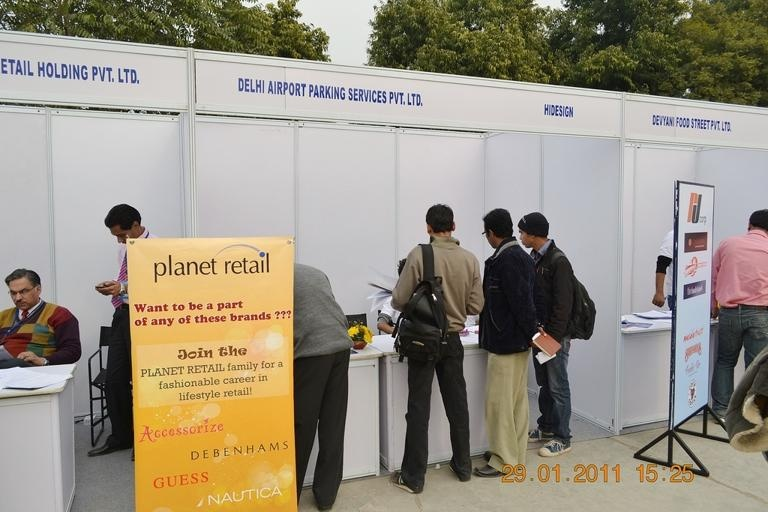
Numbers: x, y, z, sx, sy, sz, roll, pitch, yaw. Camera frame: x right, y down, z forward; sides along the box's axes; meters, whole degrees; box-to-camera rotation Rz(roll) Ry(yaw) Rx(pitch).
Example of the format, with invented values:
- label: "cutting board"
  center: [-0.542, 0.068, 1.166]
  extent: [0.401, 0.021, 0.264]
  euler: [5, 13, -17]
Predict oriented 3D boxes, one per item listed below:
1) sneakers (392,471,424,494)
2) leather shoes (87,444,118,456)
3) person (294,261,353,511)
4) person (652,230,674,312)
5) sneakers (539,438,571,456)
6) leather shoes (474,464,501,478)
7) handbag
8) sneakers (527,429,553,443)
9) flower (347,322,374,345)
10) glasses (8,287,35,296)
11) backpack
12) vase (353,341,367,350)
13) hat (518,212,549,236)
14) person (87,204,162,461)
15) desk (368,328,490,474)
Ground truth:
- label: "sneakers"
  center: [0.210, 2.088, 6.043]
  extent: [0.139, 0.144, 0.313]
  euler: [4, 4, -40]
- label: "leather shoes"
  center: [-2.876, 1.957, 6.631]
  extent: [0.302, 0.132, 0.100]
  euler: [9, 1, -32]
- label: "person"
  center: [-0.551, 1.155, 5.732]
  extent: [0.549, 2.189, 0.347]
  euler: [-3, 5, -14]
- label: "person"
  center: [3.429, 0.185, 7.967]
  extent: [0.188, 0.936, 0.758]
  euler: [1, 6, 24]
- label: "sneakers"
  center: [1.732, 1.940, 6.611]
  extent: [0.326, 0.142, 0.135]
  euler: [4, -9, -21]
- label: "leather shoes"
  center: [0.991, 2.059, 6.230]
  extent: [0.186, 0.083, 0.119]
  euler: [1, -4, -4]
- label: "handbag"
  center: [0.344, 0.571, 5.909]
  extent: [0.569, 0.902, 0.473]
  euler: [7, -3, 7]
- label: "sneakers"
  center: [1.650, 1.885, 6.845]
  extent: [0.243, 0.109, 0.119]
  euler: [6, -7, -17]
- label: "flower"
  center: [-0.241, 0.749, 6.318]
  extent: [0.179, 0.137, 0.190]
  euler: [2, -3, 5]
- label: "glasses"
  center: [-3.608, 0.343, 6.408]
  extent: [0.210, 0.079, 0.060]
  euler: [-2, 6, 0]
- label: "backpack"
  center: [1.975, 0.475, 6.543]
  extent: [0.316, 0.715, 0.151]
  euler: [-3, 5, -9]
- label: "vase"
  center: [-0.239, 0.854, 6.275]
  extent: [0.093, 0.060, 0.097]
  euler: [1, -7, -17]
- label: "hat"
  center: [1.532, -0.314, 6.609]
  extent: [0.223, 0.203, 0.244]
  euler: [-1, 15, -41]
- label: "person"
  center: [-2.686, 0.743, 6.543]
  extent: [0.634, 2.516, 0.603]
  euler: [-7, 7, -43]
- label: "desk"
  center: [0.379, 1.424, 6.753]
  extent: [1.556, 1.593, 1.028]
  euler: [-1, 0, -27]
